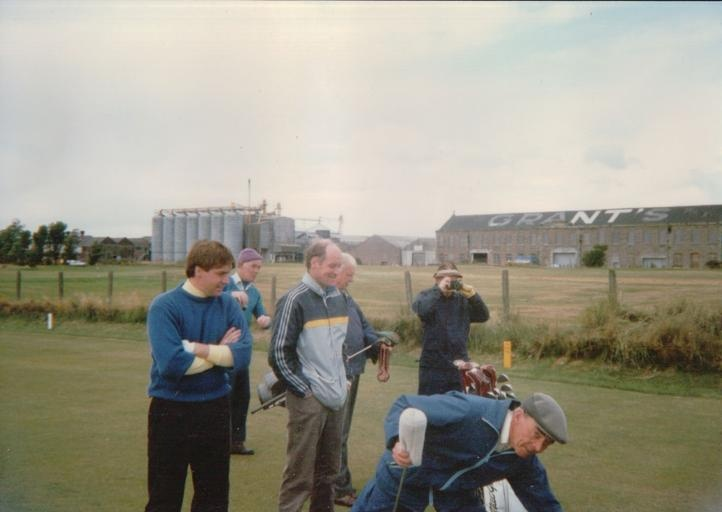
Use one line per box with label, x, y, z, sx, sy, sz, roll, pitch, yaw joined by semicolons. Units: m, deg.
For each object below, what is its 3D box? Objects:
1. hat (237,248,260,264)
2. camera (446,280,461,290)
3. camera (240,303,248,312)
hat;-1.825;0.000;16.668;0.291;0.220;0.303;0;-12;-6
camera;1.486;0.455;16.120;0.222;0.166;0.086;-1;-2;4
camera;-1.854;0.829;16.361;0.114;0.137;0.050;-7;18;-10
